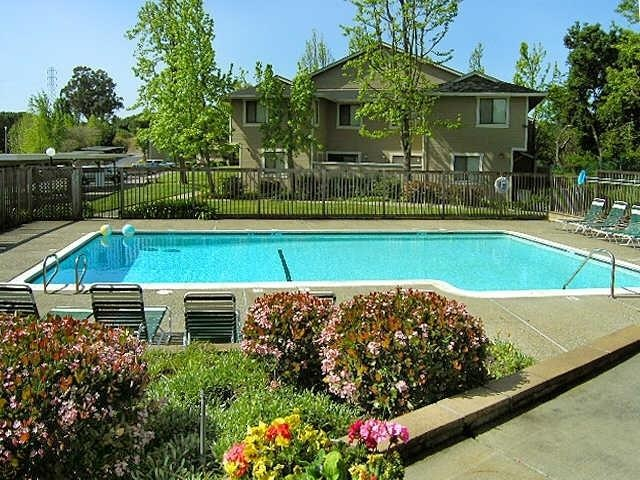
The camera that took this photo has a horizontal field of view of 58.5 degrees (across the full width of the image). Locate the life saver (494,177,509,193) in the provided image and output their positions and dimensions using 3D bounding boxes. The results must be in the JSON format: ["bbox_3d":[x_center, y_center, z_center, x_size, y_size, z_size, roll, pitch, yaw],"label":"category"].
[{"bbox_3d":[7.990,-2.414,25.044,0.469,0.738,0.215,-2,6,-5],"label":"life saver"}]
